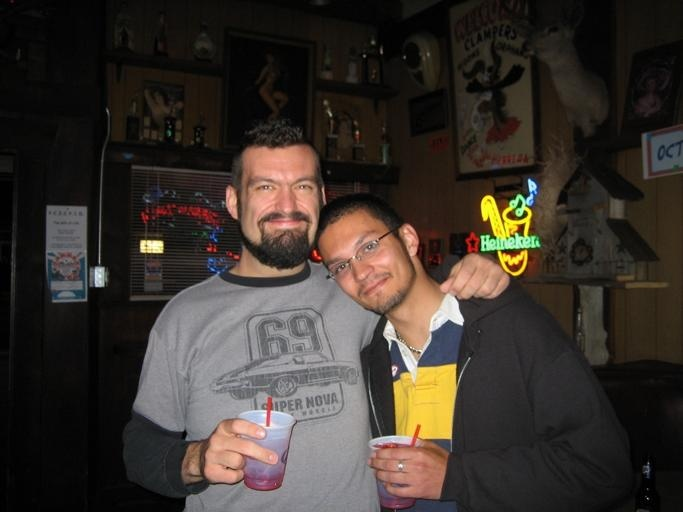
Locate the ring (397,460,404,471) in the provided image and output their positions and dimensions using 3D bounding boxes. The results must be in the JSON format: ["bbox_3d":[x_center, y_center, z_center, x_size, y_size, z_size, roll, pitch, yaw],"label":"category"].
[{"bbox_3d":[0.292,1.028,2.940,0.039,0.065,0.033,0,-8,6],"label":"ring"}]

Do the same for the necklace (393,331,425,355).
[{"bbox_3d":[0.381,0.492,3.377,0.137,0.035,0.105,37,-6,-6],"label":"necklace"}]

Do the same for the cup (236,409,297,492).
[{"bbox_3d":[-0.377,0.964,2.958,0.308,0.329,0.305,2,-5,0],"label":"cup"}]

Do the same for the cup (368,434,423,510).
[{"bbox_3d":[0.237,1.125,3.158,0.313,0.344,0.331,-2,-11,0],"label":"cup"}]
